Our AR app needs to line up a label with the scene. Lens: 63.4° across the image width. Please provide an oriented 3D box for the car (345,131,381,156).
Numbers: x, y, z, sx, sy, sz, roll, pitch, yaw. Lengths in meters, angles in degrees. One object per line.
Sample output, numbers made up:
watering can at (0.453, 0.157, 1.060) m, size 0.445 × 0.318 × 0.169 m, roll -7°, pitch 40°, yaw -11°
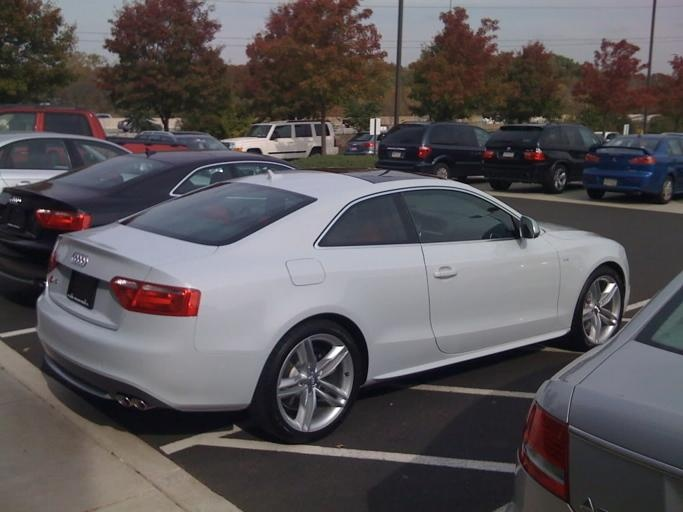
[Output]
car at (1.236, -7.008, 35.143) m, size 1.268 × 1.132 × 3.104 m, roll 9°, pitch 23°, yaw 33°

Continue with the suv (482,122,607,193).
suv at (6.973, -3.546, 19.282) m, size 3.828 × 1.838 × 2.140 m, roll -17°, pitch 19°, yaw -36°
